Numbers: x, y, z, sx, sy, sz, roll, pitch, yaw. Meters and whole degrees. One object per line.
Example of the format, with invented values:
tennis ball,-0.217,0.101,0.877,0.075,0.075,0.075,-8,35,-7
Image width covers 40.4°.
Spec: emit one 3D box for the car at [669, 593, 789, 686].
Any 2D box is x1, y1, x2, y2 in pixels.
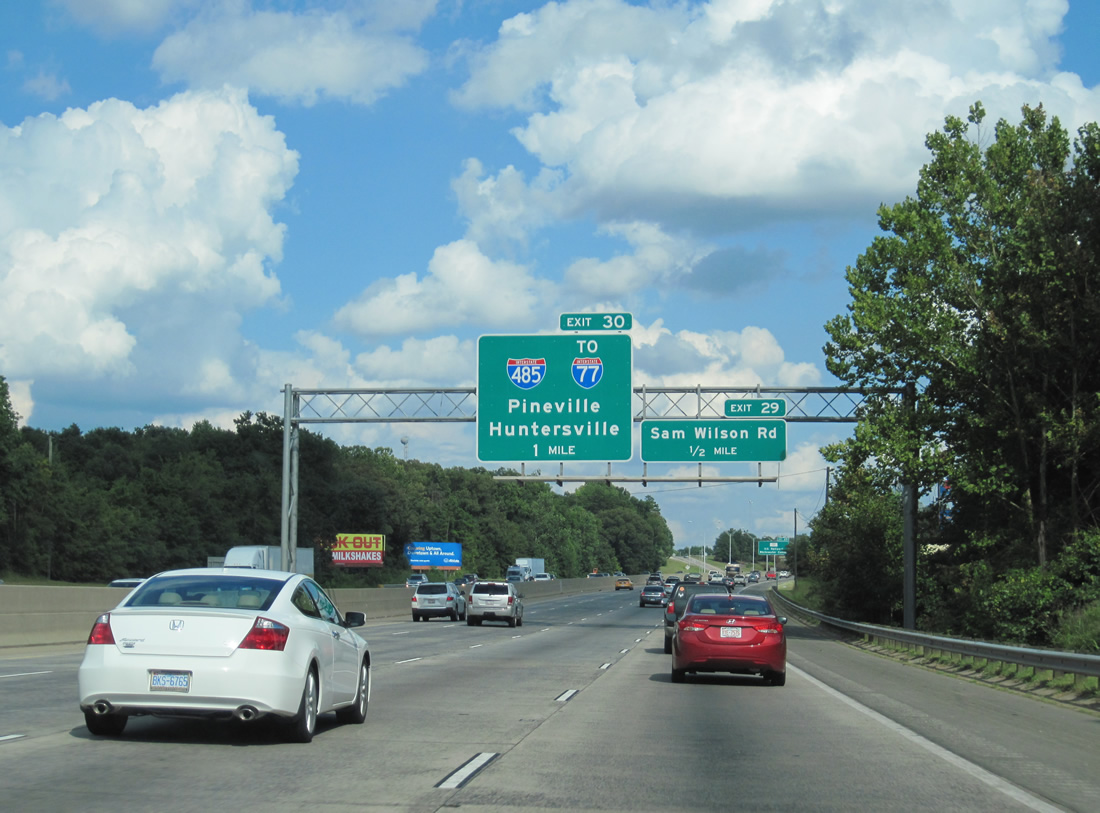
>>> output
car,3.648,4.786,30.659,2.224,1.915,1.171,-2,-7,4
